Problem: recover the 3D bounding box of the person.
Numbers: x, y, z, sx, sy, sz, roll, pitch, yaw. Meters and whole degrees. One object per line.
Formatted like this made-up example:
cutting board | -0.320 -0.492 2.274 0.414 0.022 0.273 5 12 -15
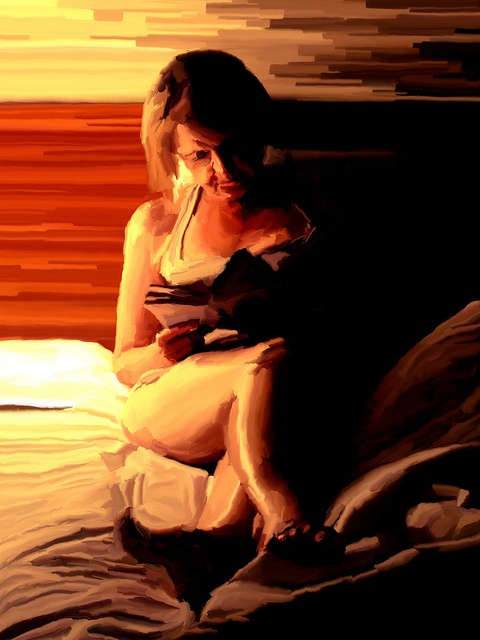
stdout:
person | 0.003 -0.031 1.449 0.550 0.983 0.183 10 12 10
